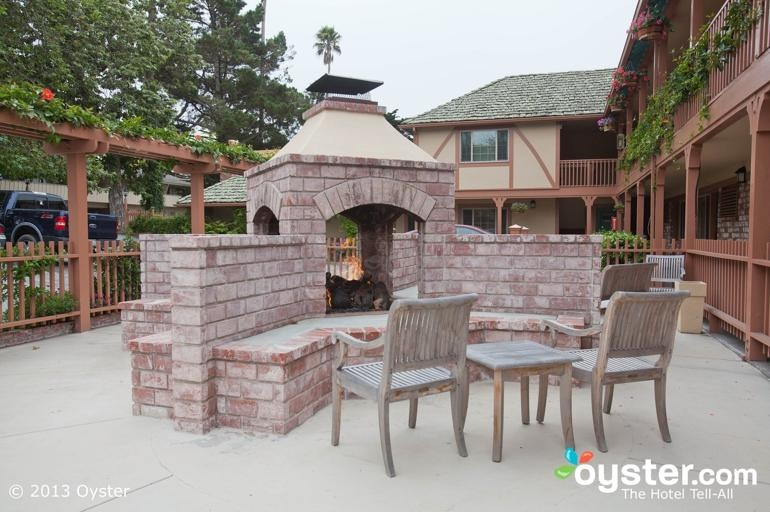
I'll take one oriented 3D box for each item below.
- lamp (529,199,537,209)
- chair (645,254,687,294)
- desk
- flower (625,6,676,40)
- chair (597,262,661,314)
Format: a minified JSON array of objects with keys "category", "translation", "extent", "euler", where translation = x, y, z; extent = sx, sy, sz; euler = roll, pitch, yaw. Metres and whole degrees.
[{"category":"lamp","translation":[5.811,-2.067,22.916],"extent":[0.294,0.351,0.264],"euler":[0,3,8]},{"category":"chair","translation":[5.620,0.328,11.636],"extent":[0.754,1.005,0.725],"euler":[0,3,30]},{"category":"desk","translation":[1.537,1.620,6.671],"extent":[1.236,1.183,0.730],"euler":[-1,3,-13]},{"category":"flower","translation":[6.144,-5.352,13.548],"extent":[0.674,0.487,0.677],"euler":[-1,3,1]},{"category":"chair","translation":[3.276,0.429,7.929],"extent":[0.908,0.596,0.465],"euler":[-2,6,-14]}]
